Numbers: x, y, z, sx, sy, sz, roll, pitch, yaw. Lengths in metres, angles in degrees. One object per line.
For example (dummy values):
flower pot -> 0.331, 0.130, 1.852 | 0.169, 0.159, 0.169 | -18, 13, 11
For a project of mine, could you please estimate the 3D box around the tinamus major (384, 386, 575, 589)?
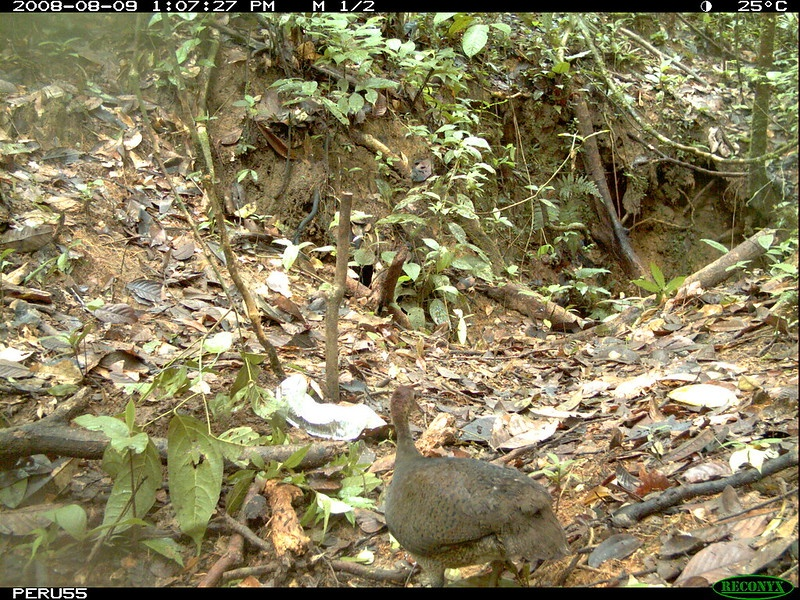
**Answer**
tinamus major -> 0.298, 0.932, 3.266 | 0.941, 0.793, 0.488 | -4, -3, 42
